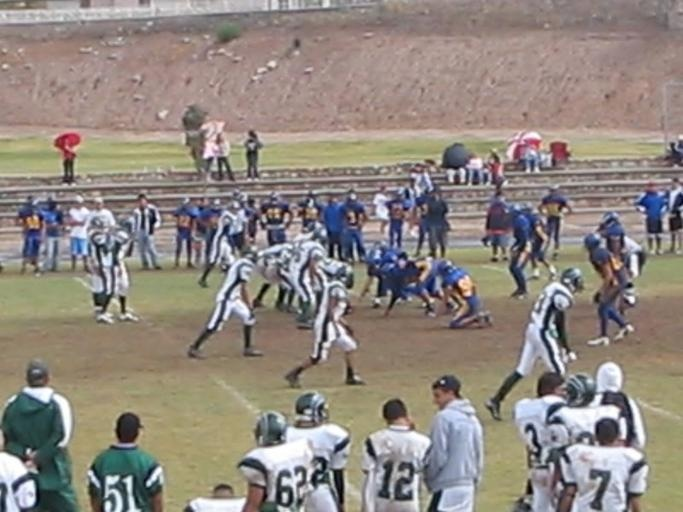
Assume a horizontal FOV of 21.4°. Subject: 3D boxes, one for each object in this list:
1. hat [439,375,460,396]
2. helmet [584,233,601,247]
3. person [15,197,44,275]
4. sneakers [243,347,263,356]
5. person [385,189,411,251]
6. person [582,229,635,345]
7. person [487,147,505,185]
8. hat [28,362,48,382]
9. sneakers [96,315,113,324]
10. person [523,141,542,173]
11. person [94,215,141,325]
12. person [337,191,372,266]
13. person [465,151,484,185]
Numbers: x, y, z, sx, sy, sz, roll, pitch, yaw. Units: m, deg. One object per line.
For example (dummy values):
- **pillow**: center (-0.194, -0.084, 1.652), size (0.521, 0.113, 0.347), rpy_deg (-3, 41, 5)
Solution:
- **hat**: center (3.287, 3.830, 55.088), size (0.666, 0.420, 0.486), rpy_deg (22, 6, 15)
- **helmet**: center (8.546, -0.579, 61.481), size (0.499, 0.454, 0.377), rpy_deg (1, 2, -3)
- **person**: center (-12.164, -0.892, 71.026), size (0.953, 3.010, 1.112), rpy_deg (0, 2, -10)
- **sneakers**: center (-3.008, 3.176, 61.761), size (0.510, 0.222, 0.266), rpy_deg (0, 6, 1)
- **person**: center (2.280, -1.521, 73.402), size (0.779, 2.178, 1.254), rpy_deg (1, 2, 10)
- **person**: center (9.047, 1.107, 61.708), size (1.570, 3.783, 0.688), rpy_deg (0, 2, -18)
- **person**: center (6.931, -4.280, 81.058), size (0.657, 1.515, 0.938), rpy_deg (4, 49, 14)
- **hat**: center (-9.226, 3.464, 54.916), size (0.493, 0.664, 0.653), rpy_deg (2, 19, -7)
- **sneakers**: center (-8.415, 2.159, 64.296), size (0.495, 0.197, 0.283), rpy_deg (5, 45, 15)
- **person**: center (8.782, -4.604, 83.495), size (0.745, 1.271, 1.539), rpy_deg (1, 2, 5)
- **person**: center (-8.205, 0.589, 64.025), size (1.387, 3.476, 0.902), rpy_deg (1, 2, -8)
- **person**: center (0.400, -1.320, 70.864), size (1.120, 2.973, 1.028), rpy_deg (-4, 26, -5)
- **person**: center (5.982, -3.902, 81.057), size (0.787, 1.277, 1.267), rpy_deg (1, 2, 4)
